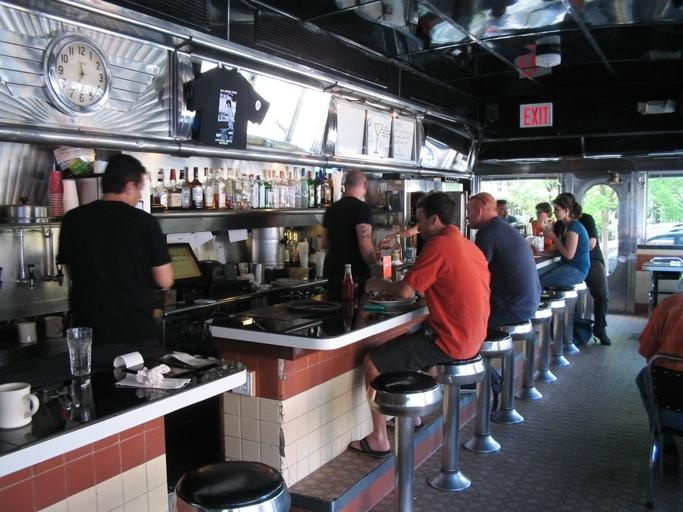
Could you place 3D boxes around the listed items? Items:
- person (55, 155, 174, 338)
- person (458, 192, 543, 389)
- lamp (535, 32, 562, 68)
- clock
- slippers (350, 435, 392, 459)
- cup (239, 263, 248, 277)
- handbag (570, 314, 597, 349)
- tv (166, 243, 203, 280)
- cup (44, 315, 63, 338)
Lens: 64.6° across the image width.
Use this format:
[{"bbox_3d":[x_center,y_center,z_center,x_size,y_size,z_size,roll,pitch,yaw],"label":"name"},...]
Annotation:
[{"bbox_3d":[-1.352,-0.056,3.220,0.616,1.106,0.309,-2,8,-26],"label":"person"},{"bbox_3d":[1.316,0.222,4.793,0.708,1.518,0.886,-11,22,-32],"label":"person"},{"bbox_3d":[2.342,-2.268,6.110,0.310,0.388,0.332,-2,-13,27],"label":"lamp"},{"bbox_3d":[-1.689,-1.158,3.457,0.054,0.495,0.410,7,9,34],"label":"clock"},{"bbox_3d":[0.189,1.292,3.653,0.275,0.076,0.109,8,8,29],"label":"slippers"},{"bbox_3d":[-0.950,0.122,5.221,0.107,0.155,0.110,2,-4,0],"label":"cup"},{"bbox_3d":[3.188,0.997,7.243,0.366,0.433,0.378,8,4,24],"label":"handbag"},{"bbox_3d":[-1.311,0.038,4.513,0.090,0.320,0.358,-33,-3,20],"label":"tv"},{"bbox_3d":[-1.949,0.478,3.671,0.137,0.144,0.132,2,0,0],"label":"cup"}]
